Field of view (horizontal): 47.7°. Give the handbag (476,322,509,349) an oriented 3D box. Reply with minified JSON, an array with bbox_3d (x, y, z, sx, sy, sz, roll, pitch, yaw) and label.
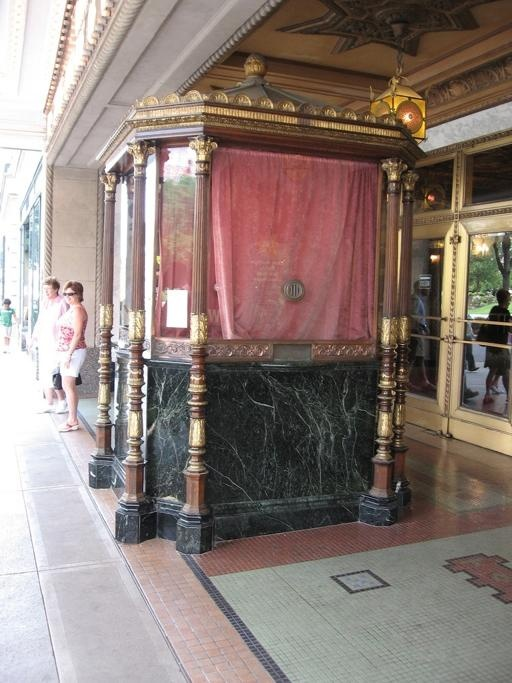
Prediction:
[{"bbox_3d":[2.420,-0.069,5.927,0.068,0.274,0.282,-1,6,-36],"label":"handbag"}]

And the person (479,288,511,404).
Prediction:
[{"bbox_3d":[2.435,0.060,5.904,0.112,1.212,0.469,1,1,-9],"label":"person"}]

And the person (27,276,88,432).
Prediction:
[{"bbox_3d":[-2.227,0.134,6.645,0.487,1.711,1.415,0,2,-22],"label":"person"}]

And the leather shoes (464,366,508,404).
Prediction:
[{"bbox_3d":[2.479,0.511,6.264,0.439,0.163,0.131,-7,9,-20],"label":"leather shoes"}]

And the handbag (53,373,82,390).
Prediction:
[{"bbox_3d":[-2.196,0.472,6.740,0.300,0.267,0.277,0,-2,-18],"label":"handbag"}]

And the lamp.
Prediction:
[{"bbox_3d":[0.972,-1.806,3.977,0.362,0.795,0.348,-6,11,-41],"label":"lamp"}]
